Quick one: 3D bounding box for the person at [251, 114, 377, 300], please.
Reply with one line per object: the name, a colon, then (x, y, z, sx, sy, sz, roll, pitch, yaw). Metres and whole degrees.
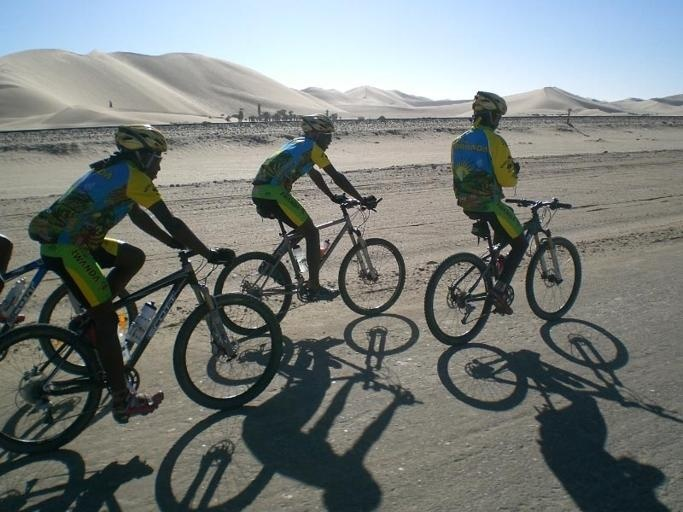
person: (-0.453, -0.559, 6.301, 1.162, 2.389, 0.677, -14, 21, -34)

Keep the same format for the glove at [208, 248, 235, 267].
glove: (-1.061, 0.011, 4.437, 0.291, 0.100, 0.123, 1, 8, 9)

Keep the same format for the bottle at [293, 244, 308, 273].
bottle: (-0.543, 0.039, 6.384, 0.205, 0.318, 0.086, -23, 15, -21)

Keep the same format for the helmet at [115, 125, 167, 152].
helmet: (-1.745, -0.996, 4.308, 0.407, 0.179, 0.268, 7, 8, -24)

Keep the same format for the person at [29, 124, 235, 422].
person: (-1.893, 0.199, 4.327, 0.921, 2.606, 1.061, 13, 23, 40)

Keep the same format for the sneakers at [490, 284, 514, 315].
sneakers: (1.915, 0.527, 5.929, 0.304, 0.342, 0.147, -30, 15, -23)

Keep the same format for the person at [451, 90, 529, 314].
person: (1.743, -0.535, 5.878, 0.912, 2.731, 0.942, 2, 18, 15)

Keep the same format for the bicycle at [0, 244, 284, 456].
bicycle: (-1.831, 0.833, 5.034, 2.809, 1.398, 1.274, -14, 9, -18)

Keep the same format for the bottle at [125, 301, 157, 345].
bottle: (-1.835, 0.606, 4.445, 0.112, 0.235, 0.380, 2, 53, 55)

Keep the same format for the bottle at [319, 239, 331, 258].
bottle: (-0.222, -0.095, 6.523, 0.146, 0.193, 0.214, 20, 2, 15)

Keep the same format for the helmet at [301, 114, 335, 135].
helmet: (-0.303, -1.671, 6.350, 0.382, 0.165, 0.230, 7, 35, -9)
